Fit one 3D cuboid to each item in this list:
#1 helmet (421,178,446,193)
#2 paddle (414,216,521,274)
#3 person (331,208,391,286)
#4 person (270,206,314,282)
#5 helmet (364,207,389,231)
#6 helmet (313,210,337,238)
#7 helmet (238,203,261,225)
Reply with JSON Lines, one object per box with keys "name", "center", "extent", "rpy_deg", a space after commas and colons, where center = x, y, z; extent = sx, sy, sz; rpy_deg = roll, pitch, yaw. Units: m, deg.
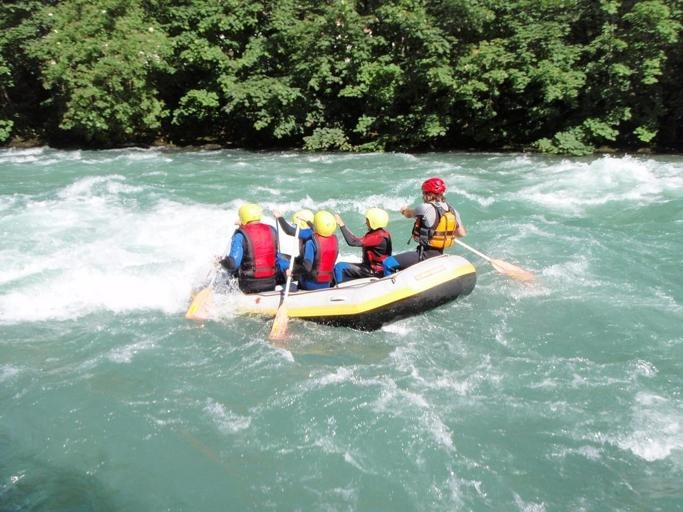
{"name": "helmet", "center": [1.555, -1.156, 9.742], "extent": [0.339, 0.295, 0.484], "rpy_deg": [1, 20, 14]}
{"name": "paddle", "center": [2.263, -0.156, 10.472], "extent": [2.249, 0.245, 0.175], "rpy_deg": [29, -5, 26]}
{"name": "person", "center": [0.344, -0.101, 10.012], "extent": [1.018, 1.414, 0.725], "rpy_deg": [13, 46, 4]}
{"name": "person", "center": [-0.822, -0.145, 9.770], "extent": [0.591, 1.577, 0.489], "rpy_deg": [4, 57, -13]}
{"name": "helmet", "center": [0.539, -0.605, 9.406], "extent": [0.382, 0.293, 0.301], "rpy_deg": [29, 43, 22]}
{"name": "helmet", "center": [-0.204, -0.527, 9.099], "extent": [0.328, 0.376, 0.405], "rpy_deg": [-7, 35, -21]}
{"name": "helmet", "center": [-1.472, -0.680, 9.340], "extent": [0.301, 0.282, 0.380], "rpy_deg": [-16, 28, -32]}
